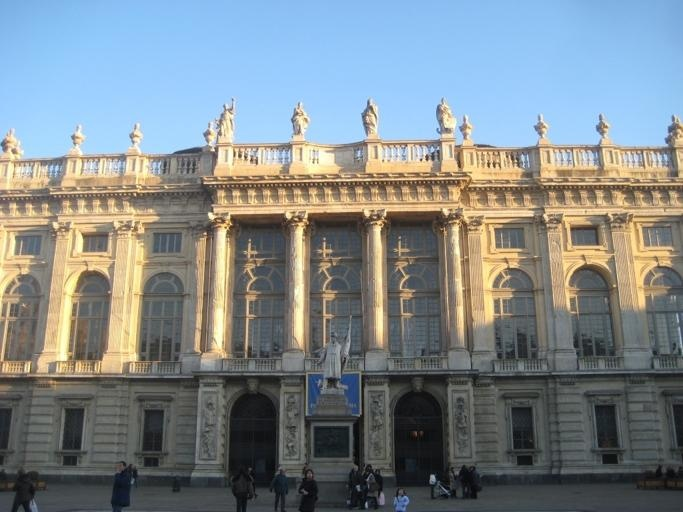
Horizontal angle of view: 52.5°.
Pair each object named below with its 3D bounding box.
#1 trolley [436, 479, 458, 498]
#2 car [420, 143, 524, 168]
[{"bbox_3d":[5.715,12.749,37.802,1.196,1.063,0.839,-4,-8,9],"label":"trolley"},{"bbox_3d":[10.102,-7.192,50.240,7.006,1.926,0.765,0,-16,-8],"label":"car"}]
